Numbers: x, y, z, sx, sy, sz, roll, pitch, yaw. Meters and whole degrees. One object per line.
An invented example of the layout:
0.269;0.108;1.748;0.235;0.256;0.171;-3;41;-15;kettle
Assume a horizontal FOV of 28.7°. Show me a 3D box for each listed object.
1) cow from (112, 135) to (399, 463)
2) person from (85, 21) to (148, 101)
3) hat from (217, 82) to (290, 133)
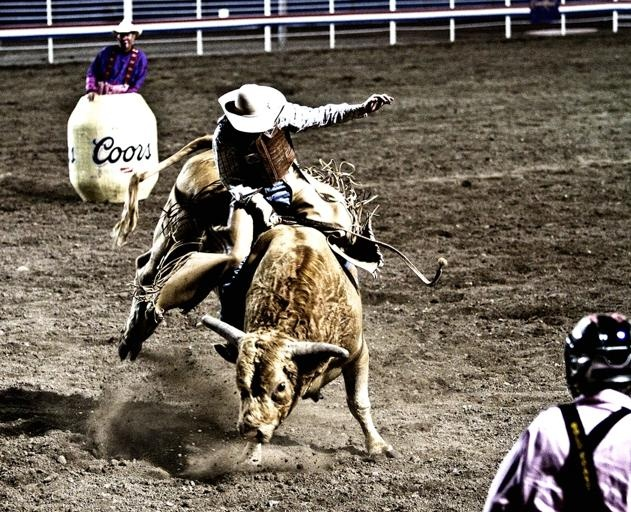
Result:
-0.575;0.443;14.272;2.260;2.501;4.552;-9;38;-30;cow
-3.029;-2.946;18.915;0.841;1.332;0.875;6;2;-3;person
-0.725;-1.693;13.550;0.556;0.232;0.638;-17;52;-12;hat
